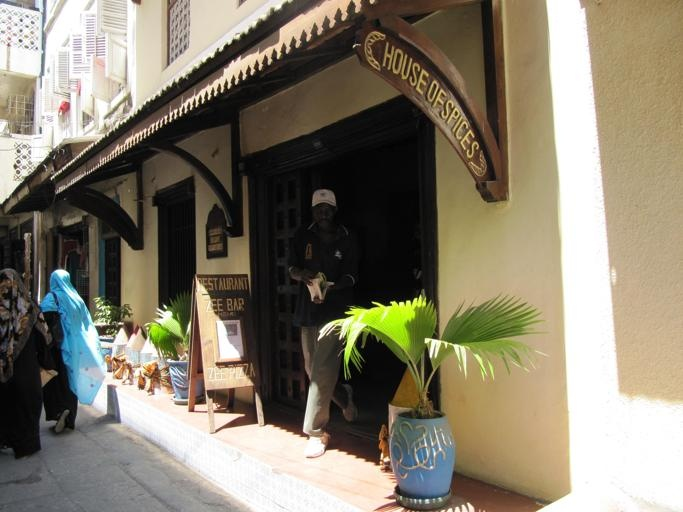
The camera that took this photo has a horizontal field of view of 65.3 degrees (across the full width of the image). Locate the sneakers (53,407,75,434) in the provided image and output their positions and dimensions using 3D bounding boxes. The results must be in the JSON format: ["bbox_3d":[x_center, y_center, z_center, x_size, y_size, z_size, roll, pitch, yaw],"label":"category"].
[{"bbox_3d":[-3.358,2.016,6.447,0.132,0.358,0.151,-1,-30,36],"label":"sneakers"}]

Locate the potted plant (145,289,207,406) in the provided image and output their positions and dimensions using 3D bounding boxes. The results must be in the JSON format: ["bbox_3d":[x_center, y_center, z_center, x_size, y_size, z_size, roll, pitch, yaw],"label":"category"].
[{"bbox_3d":[-2.127,1.203,6.682,0.689,1.110,0.819,-6,-10,27],"label":"potted plant"}]

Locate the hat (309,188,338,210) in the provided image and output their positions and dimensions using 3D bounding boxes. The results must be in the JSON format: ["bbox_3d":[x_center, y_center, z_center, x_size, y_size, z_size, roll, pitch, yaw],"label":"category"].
[{"bbox_3d":[-0.163,-0.553,5.090,0.215,0.184,0.177,0,-4,-14],"label":"hat"}]

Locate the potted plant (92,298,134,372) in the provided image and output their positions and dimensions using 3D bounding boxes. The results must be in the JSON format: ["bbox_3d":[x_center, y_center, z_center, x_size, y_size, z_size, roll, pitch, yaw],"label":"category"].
[{"bbox_3d":[-4.069,1.318,9.533,0.652,1.169,2.161,1,-4,-24],"label":"potted plant"}]

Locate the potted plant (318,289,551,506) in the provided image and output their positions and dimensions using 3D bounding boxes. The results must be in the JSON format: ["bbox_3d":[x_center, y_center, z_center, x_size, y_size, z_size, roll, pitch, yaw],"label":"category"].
[{"bbox_3d":[0.700,0.899,3.943,1.372,1.487,1.442,-3,4,-30],"label":"potted plant"}]
